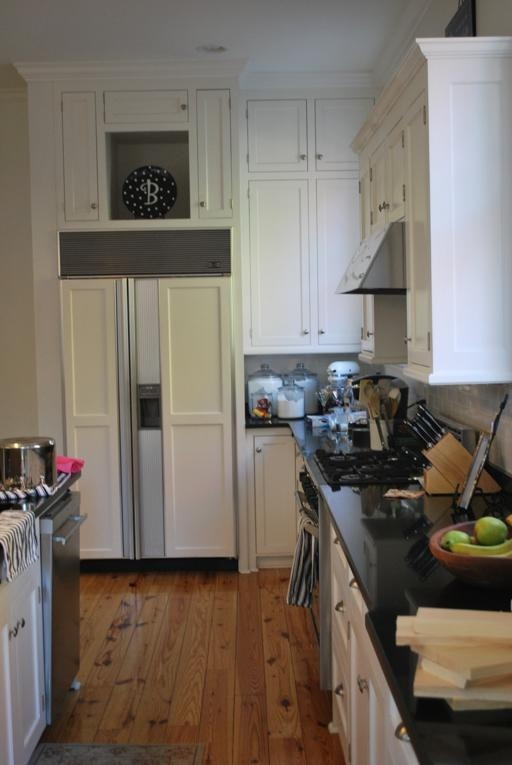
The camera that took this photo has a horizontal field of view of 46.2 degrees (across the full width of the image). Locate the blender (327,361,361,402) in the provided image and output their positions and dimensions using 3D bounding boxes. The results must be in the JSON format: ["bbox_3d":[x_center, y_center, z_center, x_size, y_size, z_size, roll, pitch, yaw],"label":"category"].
[{"bbox_3d":[0.530,0.000,3.708,0.220,0.326,0.203,2,3,3],"label":"blender"}]

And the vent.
[{"bbox_3d":[0.443,-0.485,2.432,0.148,0.295,0.404,5,1,-12],"label":"vent"}]

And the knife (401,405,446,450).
[{"bbox_3d":[0.686,0.190,2.470,0.050,0.123,0.218,31,8,-13],"label":"knife"}]

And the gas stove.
[{"bbox_3d":[0.455,0.329,2.393,0.407,0.048,0.651,-1,4,2],"label":"gas stove"}]

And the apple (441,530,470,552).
[{"bbox_3d":[0.408,0.325,1.237,0.036,0.041,0.046,5,16,9],"label":"apple"}]
